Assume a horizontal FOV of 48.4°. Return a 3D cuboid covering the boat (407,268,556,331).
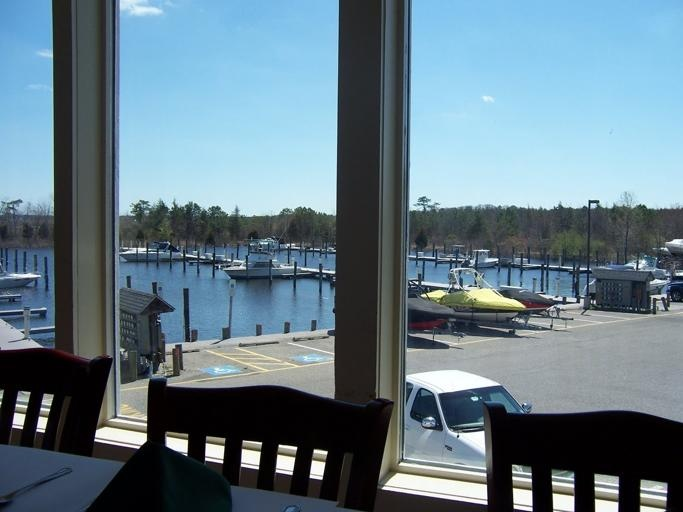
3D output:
[{"bbox_3d":[0.510,0.177,2.835,0.338,0.145,0.301,0,2,31],"label":"boat"}]
